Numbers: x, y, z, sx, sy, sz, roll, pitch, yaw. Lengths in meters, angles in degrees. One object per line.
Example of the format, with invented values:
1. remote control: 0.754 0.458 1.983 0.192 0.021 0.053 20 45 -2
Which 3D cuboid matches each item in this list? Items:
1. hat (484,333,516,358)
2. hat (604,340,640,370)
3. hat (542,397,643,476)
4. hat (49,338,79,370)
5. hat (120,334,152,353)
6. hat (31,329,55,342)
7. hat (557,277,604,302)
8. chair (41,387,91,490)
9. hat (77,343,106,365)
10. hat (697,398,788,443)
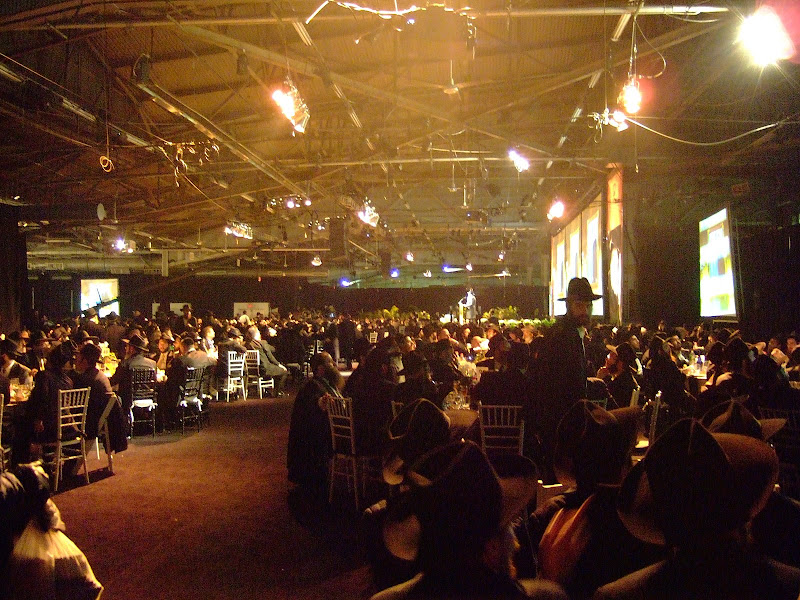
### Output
1. hat: 1.303 0.636 9.183 0.375 0.204 0.521 -1 -10 -12
2. hat: 2.730 0.679 8.522 0.326 0.125 0.345 -5 16 -14
3. hat: 0.679 0.509 2.553 0.288 0.337 0.229 10 -7 -11
4. hat: -4.158 0.665 8.588 0.109 0.326 0.261 15 -6 -36
5. hat: -4.248 0.702 11.149 0.342 0.153 0.398 8 3 6
6. hat: -6.347 0.626 12.308 0.280 0.120 0.332 0 1 9
7. hat: 1.369 -0.069 5.126 0.227 0.105 0.222 -4 2 7
8. chair: -3.717 1.473 7.743 0.496 1.030 0.867 -7 5 -30
9. hat: -3.744 0.645 8.320 0.245 0.256 0.400 -7 6 -27
10. hat: 1.255 0.450 2.626 0.194 0.088 0.210 -11 -2 1
